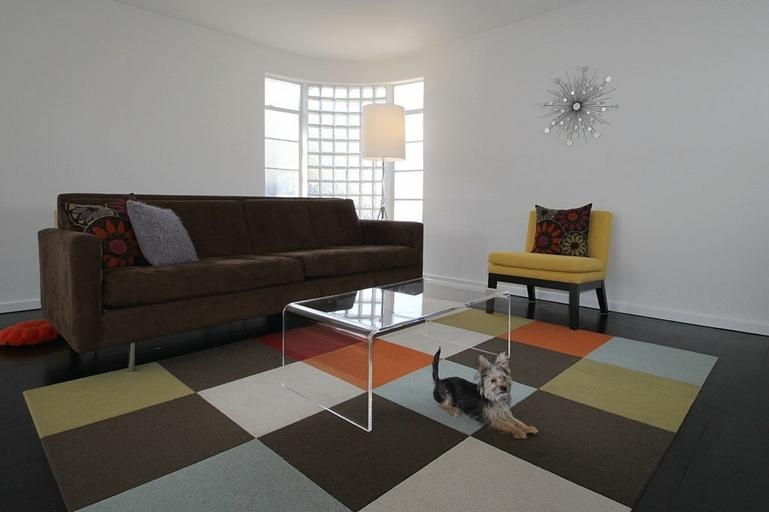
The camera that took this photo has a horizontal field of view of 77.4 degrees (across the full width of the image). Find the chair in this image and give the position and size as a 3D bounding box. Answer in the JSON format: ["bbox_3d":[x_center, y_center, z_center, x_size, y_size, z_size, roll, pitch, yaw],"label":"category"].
[{"bbox_3d":[1.626,0.065,4.771,1.003,1.078,0.983,5,5,33],"label":"chair"}]

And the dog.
[{"bbox_3d":[0.536,0.809,2.998,0.769,0.443,0.320,4,10,44],"label":"dog"}]

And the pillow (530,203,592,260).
[{"bbox_3d":[1.777,-0.225,4.790,0.530,0.507,0.206,3,-12,37],"label":"pillow"}]
